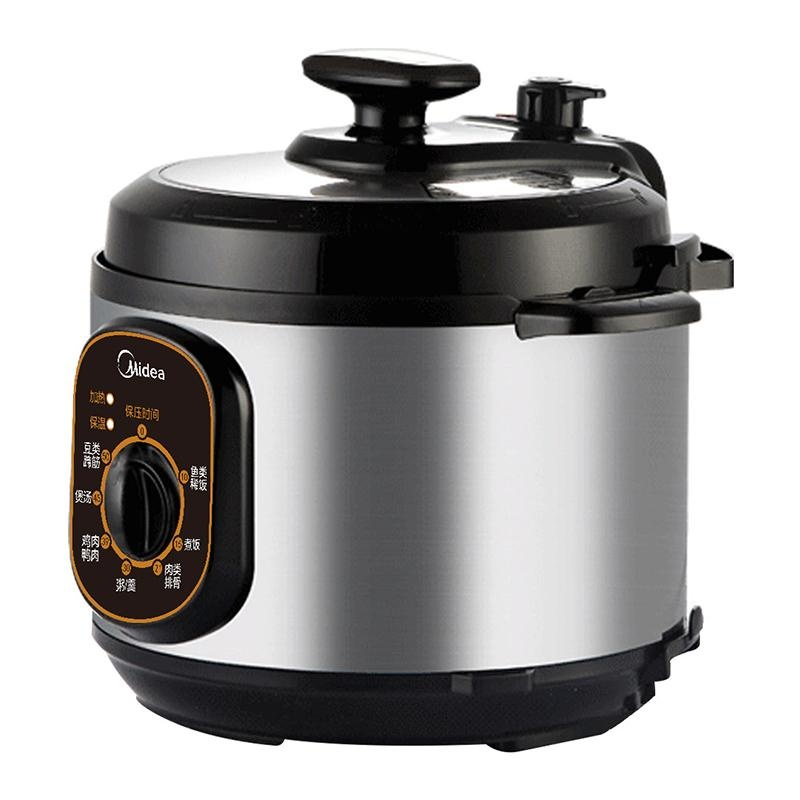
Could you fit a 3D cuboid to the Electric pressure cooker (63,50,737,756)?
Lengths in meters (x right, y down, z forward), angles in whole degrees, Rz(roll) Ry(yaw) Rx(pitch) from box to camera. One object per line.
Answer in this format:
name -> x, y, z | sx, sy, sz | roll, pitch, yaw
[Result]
Electric pressure cooker -> 0.170, -0.001, 1.147 | 0.853, 0.574, 0.698 | -2, 7, 3
